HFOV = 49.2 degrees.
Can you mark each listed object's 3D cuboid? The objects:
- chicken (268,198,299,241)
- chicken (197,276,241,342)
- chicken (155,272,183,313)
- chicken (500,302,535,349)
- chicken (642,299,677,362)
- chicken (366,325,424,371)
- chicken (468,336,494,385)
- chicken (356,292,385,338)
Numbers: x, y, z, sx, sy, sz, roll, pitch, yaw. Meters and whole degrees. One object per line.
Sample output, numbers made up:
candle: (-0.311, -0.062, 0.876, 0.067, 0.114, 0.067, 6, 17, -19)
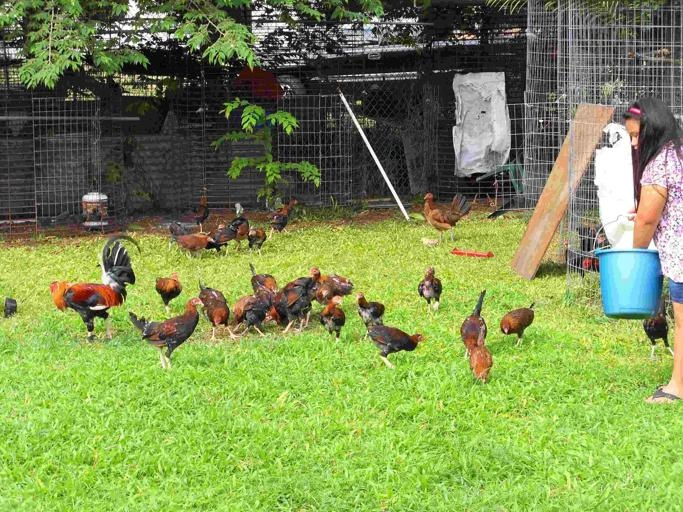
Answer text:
chicken: (-1.220, -0.869, 15.192, 0.681, 0.850, 0.387, 5, 39, -5)
chicken: (-1.674, 0.749, 10.067, 0.445, 0.664, 0.698, -5, 15, -13)
chicken: (-2.500, 0.467, 10.672, 0.476, 0.571, 0.279, 7, 9, 35)
chicken: (2.195, 0.853, 9.190, 0.591, 0.453, 0.265, -29, 27, -32)
chicken: (3.704, 0.818, 8.766, 0.559, 0.773, 0.488, 6, 8, 23)
chicken: (0.625, 0.981, 8.726, 0.411, 0.423, 0.625, 12, 20, 40)
chicken: (1.555, 1.160, 8.306, 0.246, 0.352, 0.549, 1, 15, 10)
chicken: (0.387, 0.710, 9.685, 0.299, 0.567, 0.686, -4, 3, 29)
